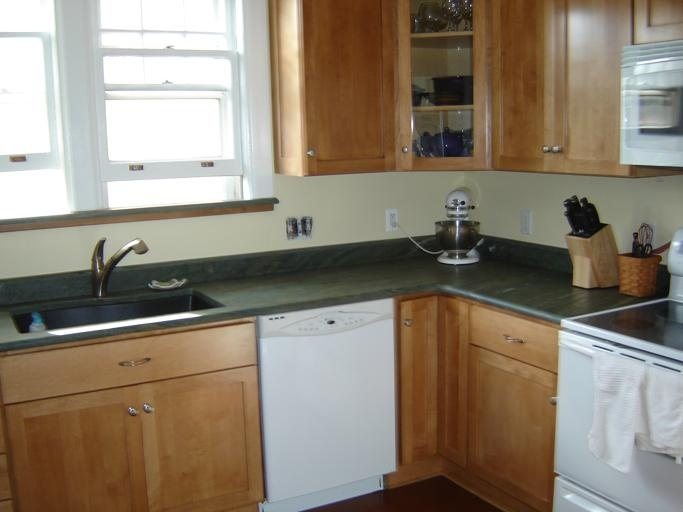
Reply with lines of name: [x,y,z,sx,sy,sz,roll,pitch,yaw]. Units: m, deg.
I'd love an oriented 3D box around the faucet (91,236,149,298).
faucet: [-1.086,0.057,2.724,0.290,0.280,0.159,6,15,29]

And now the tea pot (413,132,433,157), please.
tea pot: [0.429,-0.587,2.984,0.094,0.133,0.039,2,3,7]

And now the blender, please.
blender: [0.708,-0.184,3.321,0.271,0.400,0.348,2,12,25]

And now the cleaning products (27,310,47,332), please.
cleaning products: [-1.382,0.297,2.562,0.060,0.147,0.073,-5,-23,-27]
